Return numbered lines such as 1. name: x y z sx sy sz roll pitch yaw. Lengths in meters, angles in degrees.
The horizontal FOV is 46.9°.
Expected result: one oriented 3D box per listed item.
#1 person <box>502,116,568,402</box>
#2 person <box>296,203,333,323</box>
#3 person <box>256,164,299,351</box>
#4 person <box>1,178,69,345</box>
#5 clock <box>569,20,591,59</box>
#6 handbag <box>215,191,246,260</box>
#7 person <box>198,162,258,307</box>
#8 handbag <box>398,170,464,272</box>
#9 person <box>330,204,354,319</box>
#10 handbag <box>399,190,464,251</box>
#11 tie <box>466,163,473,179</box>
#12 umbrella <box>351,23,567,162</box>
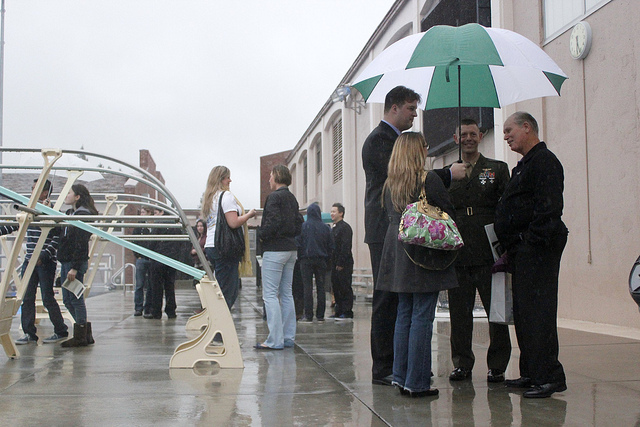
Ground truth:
1. person: 2.403 0.458 8.309 0.597 3.121 0.726 -1 4 -15
2. person: -0.100 0.932 13.328 0.607 2.216 1.083 0 4 5
3. person: -0.588 0.629 10.575 0.532 2.639 0.785 1 4 14
4. person: -4.211 0.751 11.030 0.815 2.539 1.506 -2 4 -20
5. clock: 4.224 -2.826 12.053 0.107 0.594 0.483 -1 4 -15
6. handbag: -1.297 0.218 10.587 0.403 1.039 0.317 -12 27 -23
7. person: -1.367 0.603 10.944 0.894 2.623 0.822 1 -3 -14
8. handbag: 1.206 0.042 8.043 0.742 1.155 0.271 12 -22 -20
9. person: 0.428 0.914 14.307 0.390 2.103 1.043 0 4 1
10. handbag: 1.183 0.019 8.029 0.725 0.769 0.262 10 -20 -26
11. tie: 1.805 -0.536 8.963 0.050 0.147 0.102 2 3 -16
12. umbrella: 1.707 -1.612 9.131 2.444 1.030 2.543 -13 -6 29
